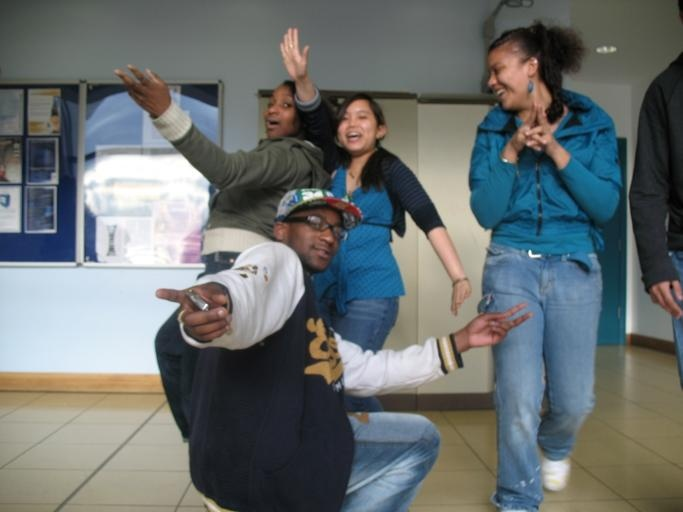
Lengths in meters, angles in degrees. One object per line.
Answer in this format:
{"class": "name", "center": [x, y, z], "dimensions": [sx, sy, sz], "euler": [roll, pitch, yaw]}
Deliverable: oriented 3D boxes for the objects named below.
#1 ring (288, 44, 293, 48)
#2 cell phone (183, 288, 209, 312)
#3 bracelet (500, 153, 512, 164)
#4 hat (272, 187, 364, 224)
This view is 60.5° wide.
{"class": "ring", "center": [-0.238, -0.964, 2.712], "dimensions": [0.022, 0.020, 0.005], "euler": [-1, 5, -9]}
{"class": "cell phone", "center": [-0.442, 0.136, 1.788], "dimensions": [0.065, 0.064, 0.019], "euler": [-2, 10, 11]}
{"class": "bracelet", "center": [0.762, -0.443, 2.732], "dimensions": [0.036, 0.026, 0.035], "euler": [-9, 13, -38]}
{"class": "hat", "center": [-0.111, -0.205, 2.310], "dimensions": [0.244, 0.075, 0.177], "euler": [-13, -16, 30]}
